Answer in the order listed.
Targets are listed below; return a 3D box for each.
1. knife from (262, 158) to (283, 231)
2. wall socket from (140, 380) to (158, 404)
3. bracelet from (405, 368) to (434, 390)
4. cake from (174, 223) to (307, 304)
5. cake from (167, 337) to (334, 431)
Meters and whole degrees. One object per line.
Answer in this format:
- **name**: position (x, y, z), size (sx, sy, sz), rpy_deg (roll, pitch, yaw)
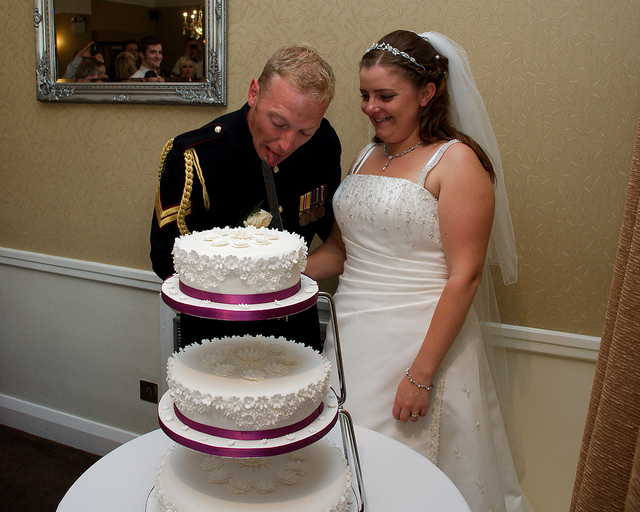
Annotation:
- **knife**: position (-0.189, -0.233, 2.398), size (0.041, 0.449, 0.020), rpy_deg (-32, 56, -12)
- **wall socket**: position (-0.964, 0.756, 3.231), size (0.101, 0.114, 0.013), rpy_deg (7, 7, 30)
- **bracelet**: position (0.357, 0.459, 2.128), size (0.081, 0.021, 0.068), rpy_deg (40, -18, 10)
- **cake**: position (-0.239, 0.016, 1.698), size (0.374, 0.137, 0.328), rpy_deg (-1, 18, -13)
- **cake**: position (-0.213, 0.378, 1.760), size (0.477, 0.166, 0.538), rpy_deg (-1, 9, -25)
